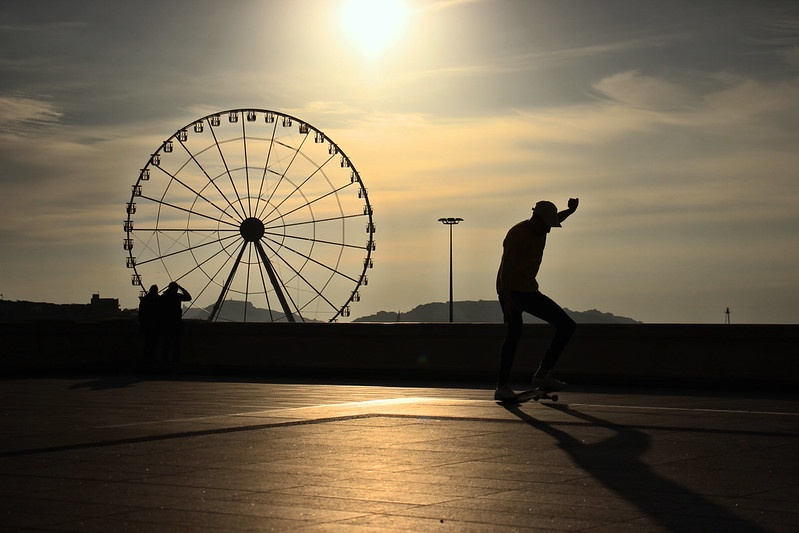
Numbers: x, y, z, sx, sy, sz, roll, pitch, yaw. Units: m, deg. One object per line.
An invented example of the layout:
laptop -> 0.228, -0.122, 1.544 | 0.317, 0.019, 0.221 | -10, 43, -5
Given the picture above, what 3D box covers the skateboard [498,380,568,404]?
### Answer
skateboard -> 1.251, 1.148, 7.920 | 0.914, 0.131, 0.220 | -3, 4, -31
